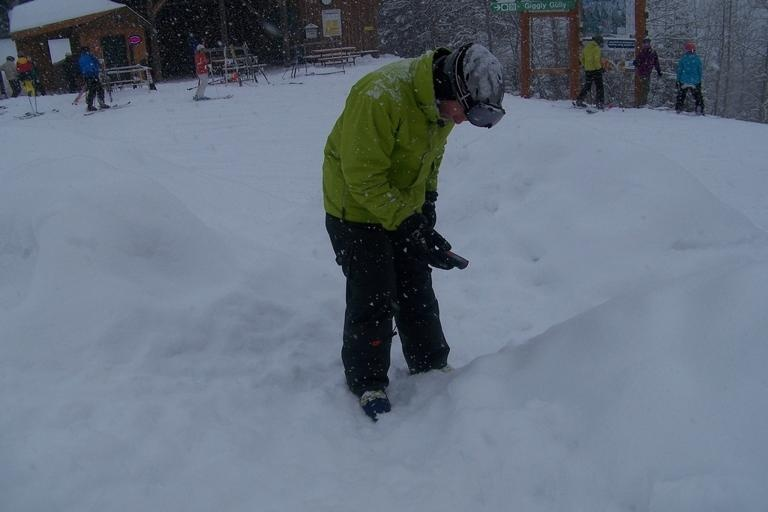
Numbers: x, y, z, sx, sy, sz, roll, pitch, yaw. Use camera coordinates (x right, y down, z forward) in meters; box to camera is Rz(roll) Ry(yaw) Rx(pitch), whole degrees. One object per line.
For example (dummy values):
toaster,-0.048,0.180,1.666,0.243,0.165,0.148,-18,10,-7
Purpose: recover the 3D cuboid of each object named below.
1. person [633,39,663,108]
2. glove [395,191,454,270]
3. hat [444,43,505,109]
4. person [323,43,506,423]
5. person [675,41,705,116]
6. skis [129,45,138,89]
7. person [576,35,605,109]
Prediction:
person,5.234,-3.620,13.316,0.511,1.372,1.243,3,20,21
glove,0.293,-0.119,4.822,0.349,0.606,0.195,-44,32,-14
hat,0.616,-1.216,4.554,0.308,0.490,0.338,-4,12,-13
person,0.203,-0.200,5.017,1.168,2.757,1.069,6,16,12
person,5.833,-3.409,12.675,0.488,1.347,0.389,6,39,29
skis,-7.361,-5.508,19.564,0.179,1.695,0.235,1,-5,-33
person,3.897,-3.422,12.590,0.481,1.347,2.582,2,22,17
